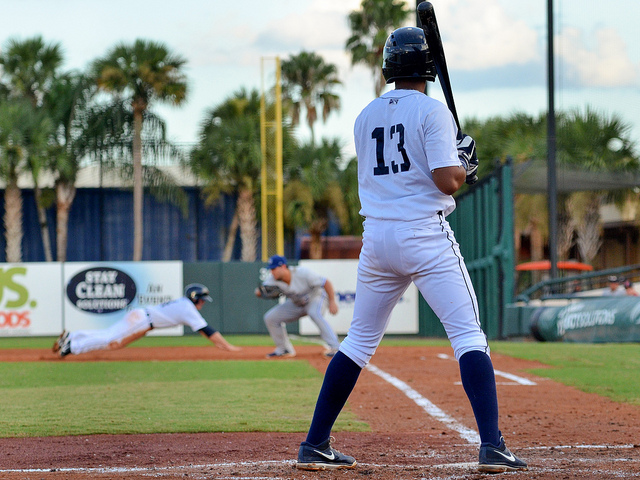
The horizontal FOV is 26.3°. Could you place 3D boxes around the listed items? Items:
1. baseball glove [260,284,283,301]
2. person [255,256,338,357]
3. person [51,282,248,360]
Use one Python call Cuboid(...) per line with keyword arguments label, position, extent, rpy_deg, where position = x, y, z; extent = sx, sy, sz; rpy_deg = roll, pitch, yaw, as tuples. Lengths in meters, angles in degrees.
Cuboid(label="baseball glove", position=(-0.788, 0.825, 21.864), extent=(0.372, 0.285, 0.450), rpy_deg=(-1, 7, -10))
Cuboid(label="person", position=(-0.378, 1.019, 21.939), extent=(1.221, 1.774, 0.955), rpy_deg=(-3, 12, 1))
Cuboid(label="person", position=(-2.797, 1.306, 20.802), extent=(2.054, 0.947, 1.562), rpy_deg=(-9, 1, -7))
